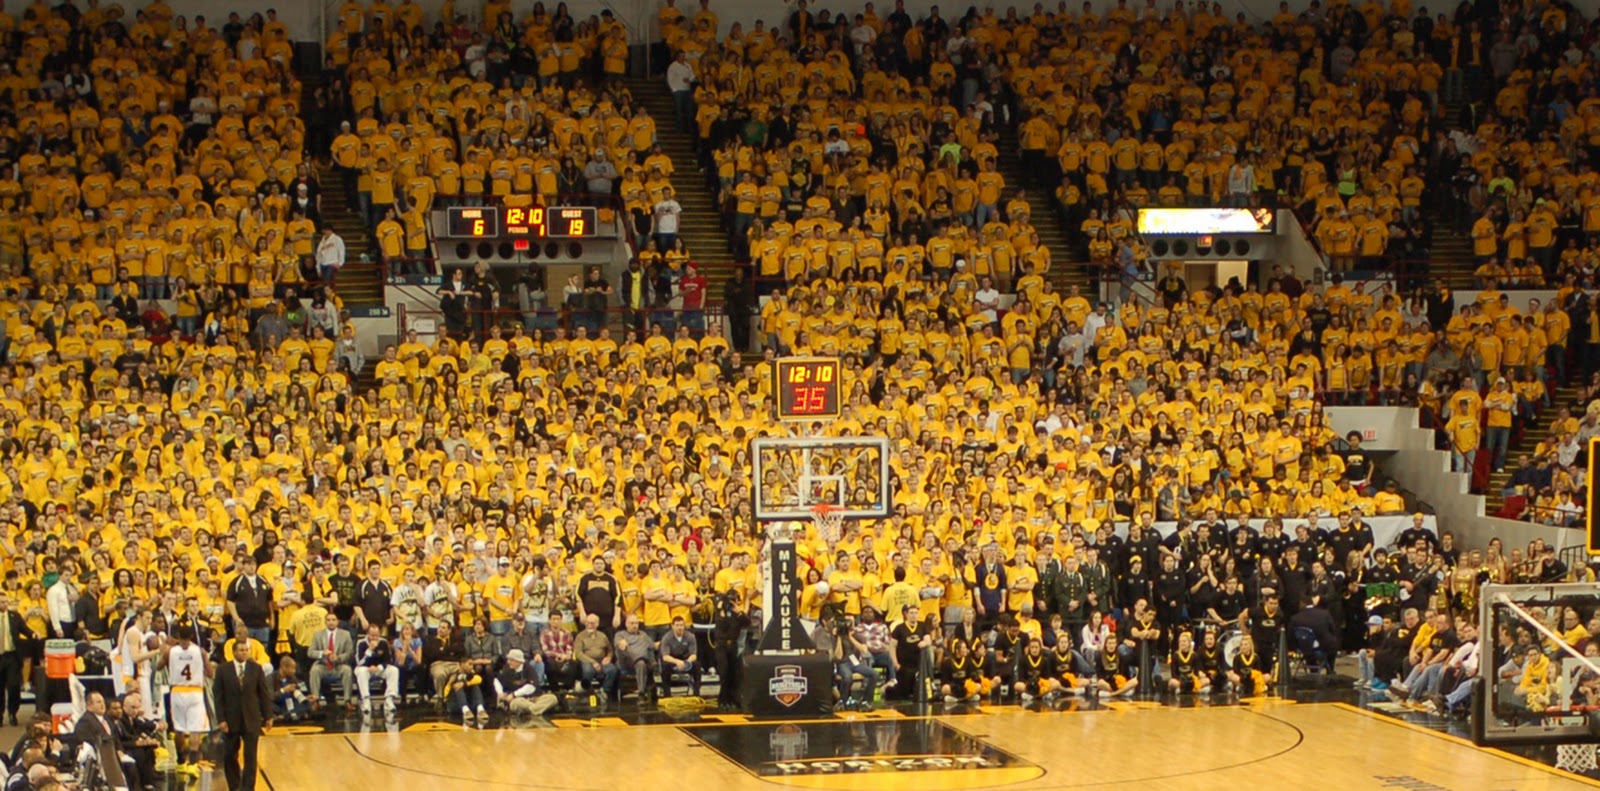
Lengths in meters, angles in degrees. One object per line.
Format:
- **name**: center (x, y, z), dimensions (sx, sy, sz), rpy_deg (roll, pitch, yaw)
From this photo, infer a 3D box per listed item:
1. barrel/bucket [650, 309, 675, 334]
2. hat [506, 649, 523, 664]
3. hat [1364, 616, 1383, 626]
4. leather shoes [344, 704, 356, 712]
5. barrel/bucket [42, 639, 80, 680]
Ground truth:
- **barrel/bucket**: center (-3.832, -2.035, 78.395), dimensions (0.801, 0.643, 0.689), rpy_deg (-4, 9, -5)
- **hat**: center (-7.168, 6.623, 69.810), dimensions (0.393, 0.213, 0.372), rpy_deg (1, -4, 30)
- **hat**: center (15.021, 5.944, 72.196), dimensions (0.390, 0.150, 0.245), rpy_deg (8, 6, -1)
- **leather shoes**: center (-11.362, 7.932, 70.177), dimensions (0.242, 0.165, 0.238), rpy_deg (-3, -2, -9)
- **barrel/bucket**: center (-17.927, 6.450, 67.101), dimensions (1.020, 0.894, 1.005), rpy_deg (-1, -7, 0)
